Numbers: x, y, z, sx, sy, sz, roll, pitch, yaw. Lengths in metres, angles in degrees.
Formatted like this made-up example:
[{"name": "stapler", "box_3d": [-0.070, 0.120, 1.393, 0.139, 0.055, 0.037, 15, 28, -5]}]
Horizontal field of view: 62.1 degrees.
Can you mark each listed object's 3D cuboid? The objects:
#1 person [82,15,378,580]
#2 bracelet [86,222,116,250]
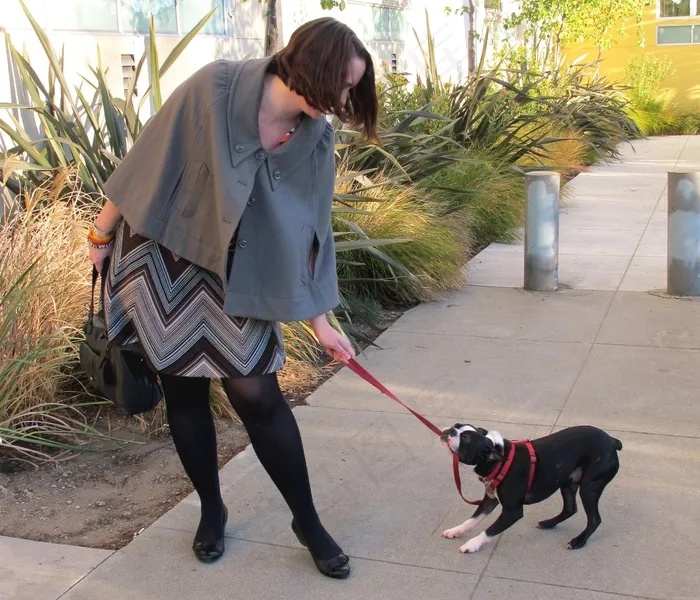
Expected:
[{"name": "person", "box_3d": [-0.373, 0.062, 1.961, 0.954, 1.769, 0.396, 2, 14, 16]}, {"name": "bracelet", "box_3d": [-0.855, -0.208, 1.982, 0.076, 0.074, 0.084, 21, 35, -16]}]
